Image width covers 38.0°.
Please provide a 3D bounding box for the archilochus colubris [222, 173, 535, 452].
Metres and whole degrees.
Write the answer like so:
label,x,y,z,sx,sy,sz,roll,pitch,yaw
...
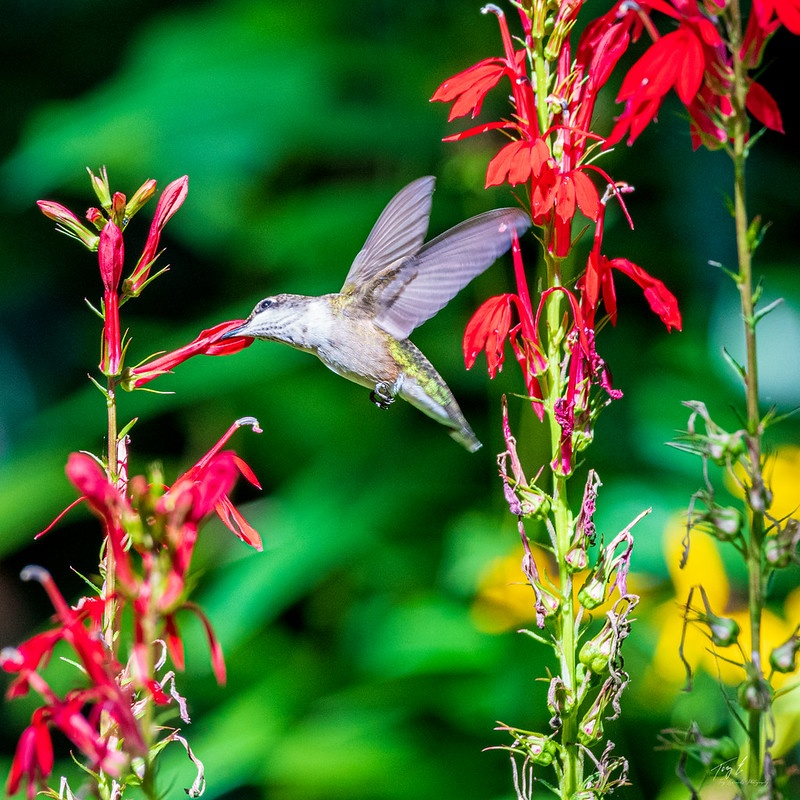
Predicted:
label,x,y,z,sx,sy,sz,roll,pitch,yaw
archilochus colubris,-0.015,-0.130,1.767,0.340,0.407,0.418,9,9,-3
